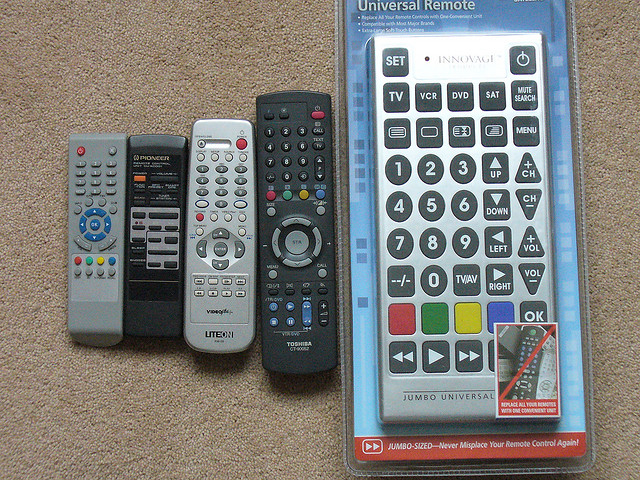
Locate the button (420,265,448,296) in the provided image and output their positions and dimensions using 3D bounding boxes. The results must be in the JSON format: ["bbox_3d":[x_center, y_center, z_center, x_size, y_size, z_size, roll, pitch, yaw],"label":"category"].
[{"bbox_3d":[0.111,0.041,0.721,0.027,0.005,0.032,4,80,-6],"label":"button"}]

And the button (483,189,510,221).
[{"bbox_3d":[0.173,-0.033,0.724,0.029,0.004,0.037,-1,88,8],"label":"button"}]

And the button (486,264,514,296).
[{"bbox_3d":[0.175,0.040,0.720,0.029,0.004,0.034,1,83,-6],"label":"button"}]

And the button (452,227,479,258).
[{"bbox_3d":[0.143,0.004,0.724,0.029,0.005,0.036,0,84,1],"label":"button"}]

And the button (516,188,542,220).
[{"bbox_3d":[0.204,-0.034,0.722,0.029,0.004,0.038,0,79,2],"label":"button"}]

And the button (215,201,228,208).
[{"bbox_3d":[-0.101,-0.035,0.749,0.012,0.002,0.007,5,89,-1],"label":"button"}]

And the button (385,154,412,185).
[{"bbox_3d":[0.076,-0.067,0.727,0.029,0.004,0.034,0,85,-2],"label":"button"}]

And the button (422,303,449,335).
[{"bbox_3d":[0.112,0.076,0.719,0.024,0.015,0.025,1,57,-6],"label":"button"}]

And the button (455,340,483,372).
[{"bbox_3d":[0.145,0.112,0.717,0.030,0.004,0.034,-2,69,12],"label":"button"}]

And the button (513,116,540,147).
[{"bbox_3d":[0.201,-0.105,0.731,0.027,0.029,0.029,2,90,8],"label":"button"}]

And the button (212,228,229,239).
[{"bbox_3d":[-0.101,-0.007,0.748,0.016,0.006,0.008,2,57,-6],"label":"button"}]

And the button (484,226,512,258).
[{"bbox_3d":[0.174,0.003,0.723,0.028,0.004,0.038,1,83,-3],"label":"button"}]

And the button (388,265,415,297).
[{"bbox_3d":[0.079,0.040,0.722,0.024,0.015,0.026,0,57,-7],"label":"button"}]

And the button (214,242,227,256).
[{"bbox_3d":[-0.100,0.009,0.748,0.013,0.006,0.011,-17,61,-17],"label":"button"}]

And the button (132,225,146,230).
[{"bbox_3d":[-0.185,-0.011,0.751,0.010,0.002,0.005,2,93,1],"label":"button"}]

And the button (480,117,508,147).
[{"bbox_3d":[0.171,-0.105,0.727,0.026,0.007,0.028,8,88,4],"label":"button"}]

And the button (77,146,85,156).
[{"bbox_3d":[-0.245,-0.090,0.755,0.007,0.002,0.007,6,87,5],"label":"button"}]

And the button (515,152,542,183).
[{"bbox_3d":[0.203,-0.071,0.722,0.024,0.035,0.004,3,45,20],"label":"button"}]

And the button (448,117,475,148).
[{"bbox_3d":[0.140,-0.110,0.733,0.026,0.027,0.007,-1,60,23],"label":"button"}]

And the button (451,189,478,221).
[{"bbox_3d":[0.142,-0.033,0.728,0.029,0.029,0.030,-11,78,28],"label":"button"}]

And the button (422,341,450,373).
[{"bbox_3d":[0.112,0.114,0.715,0.027,0.003,0.030,2,83,-5],"label":"button"}]

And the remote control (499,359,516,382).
[{"bbox_3d":[0.180,0.125,0.712,0.019,0.005,0.019,-2,88,0],"label":"remote control"}]

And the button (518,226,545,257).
[{"bbox_3d":[0.207,0.003,0.725,0.026,0.004,0.034,-1,52,12],"label":"button"}]

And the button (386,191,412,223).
[{"bbox_3d":[0.076,-0.031,0.726,0.029,0.006,0.034,-2,91,6],"label":"button"}]

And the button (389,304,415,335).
[{"bbox_3d":[0.079,0.077,0.719,0.026,0.006,0.027,0,90,0],"label":"button"}]

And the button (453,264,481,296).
[{"bbox_3d":[0.143,0.039,0.721,0.025,0.015,0.025,2,57,-6],"label":"button"}]

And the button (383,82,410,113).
[{"bbox_3d":[0.074,-0.140,0.730,0.027,0.007,0.028,0,87,1],"label":"button"}]

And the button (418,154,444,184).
[{"bbox_3d":[0.109,-0.068,0.727,0.028,0.005,0.033,-2,90,8],"label":"button"}]

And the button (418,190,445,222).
[{"bbox_3d":[0.110,-0.032,0.726,0.028,0.004,0.033,3,87,1],"label":"button"}]

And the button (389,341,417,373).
[{"bbox_3d":[0.080,0.114,0.715,0.026,0.003,0.029,2,82,-4],"label":"button"}]

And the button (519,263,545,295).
[{"bbox_3d":[0.206,0.039,0.719,0.028,0.004,0.036,2,80,3],"label":"button"}]

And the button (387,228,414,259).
[{"bbox_3d":[0.077,0.005,0.724,0.027,0.004,0.032,4,83,-1],"label":"button"}]

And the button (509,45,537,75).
[{"bbox_3d":[0.200,-0.175,0.729,0.028,0.004,0.031,-1,89,7],"label":"button"}]

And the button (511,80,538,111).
[{"bbox_3d":[0.201,-0.140,0.727,0.028,0.004,0.036,1,86,-4],"label":"button"}]

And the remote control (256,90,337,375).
[{"bbox_3d":[-0.024,-0.005,0.768,0.078,0.042,0.304,0,75,-4],"label":"remote control"}]

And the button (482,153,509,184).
[{"bbox_3d":[0.172,-0.069,0.725,0.028,0.004,0.035,1,83,-4],"label":"button"}]

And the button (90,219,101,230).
[{"bbox_3d":[-0.229,-0.015,0.754,0.011,0.002,0.011,2,88,1],"label":"button"}]

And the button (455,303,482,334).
[{"bbox_3d":[0.150,0.075,0.712,0.027,0.006,0.028,1,88,2],"label":"button"}]

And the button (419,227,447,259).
[{"bbox_3d":[0.111,0.002,0.725,0.026,0.026,0.027,10,98,9],"label":"button"}]
